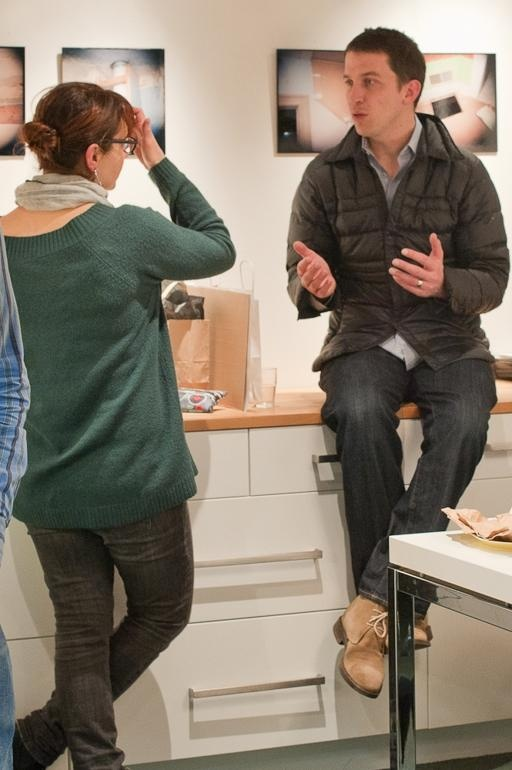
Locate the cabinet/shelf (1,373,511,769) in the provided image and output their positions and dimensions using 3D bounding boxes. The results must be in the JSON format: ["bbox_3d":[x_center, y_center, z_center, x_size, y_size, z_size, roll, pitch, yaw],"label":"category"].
[{"bbox_3d":[-0.021,0.386,1.331,1.051,0.575,0.356,-1,0,-14],"label":"cabinet/shelf"}]

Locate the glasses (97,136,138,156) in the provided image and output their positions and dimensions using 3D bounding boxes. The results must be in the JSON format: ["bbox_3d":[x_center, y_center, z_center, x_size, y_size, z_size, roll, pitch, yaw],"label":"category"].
[{"bbox_3d":[-0.239,-0.424,1.192,0.046,0.012,0.045,-2,2,37],"label":"glasses"}]

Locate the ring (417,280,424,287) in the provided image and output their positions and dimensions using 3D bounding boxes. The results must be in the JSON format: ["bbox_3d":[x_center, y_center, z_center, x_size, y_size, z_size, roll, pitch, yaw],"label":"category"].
[{"bbox_3d":[0.380,-0.235,1.574,0.012,0.014,0.017,-2,7,-3],"label":"ring"}]

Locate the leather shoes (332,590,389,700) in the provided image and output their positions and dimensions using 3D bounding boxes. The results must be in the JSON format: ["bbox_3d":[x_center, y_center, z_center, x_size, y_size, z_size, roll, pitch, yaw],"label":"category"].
[{"bbox_3d":[0.235,0.566,1.496,0.098,0.163,0.164,1,15,8],"label":"leather shoes"}]
